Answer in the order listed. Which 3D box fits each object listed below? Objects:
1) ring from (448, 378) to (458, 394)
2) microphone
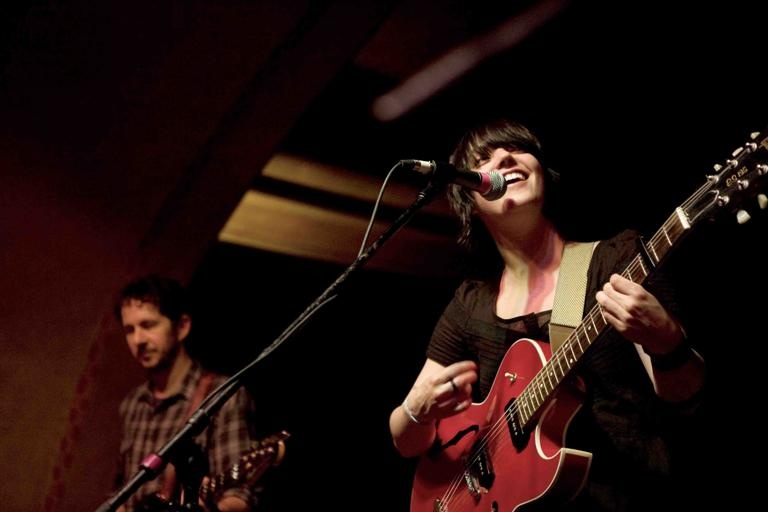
[{"bbox_3d":[0.342,0.641,3.303,0.012,0.049,0.055,-16,-53,-16],"label":"ring"},{"bbox_3d":[0.385,-0.362,3.274,0.613,0.177,0.175,11,6,-26],"label":"microphone"}]
